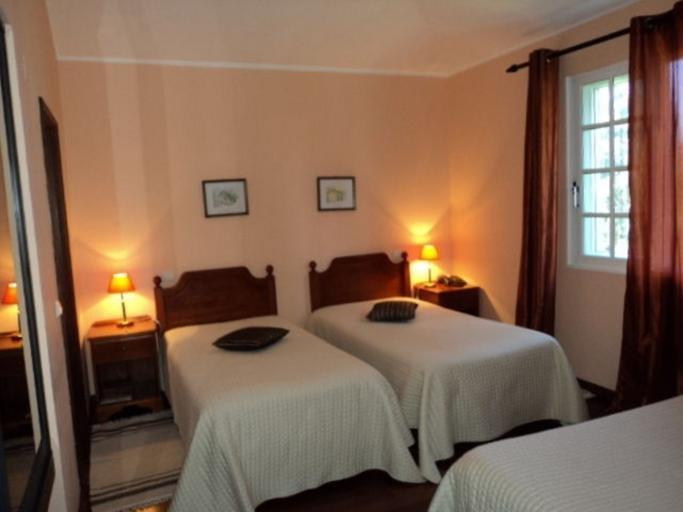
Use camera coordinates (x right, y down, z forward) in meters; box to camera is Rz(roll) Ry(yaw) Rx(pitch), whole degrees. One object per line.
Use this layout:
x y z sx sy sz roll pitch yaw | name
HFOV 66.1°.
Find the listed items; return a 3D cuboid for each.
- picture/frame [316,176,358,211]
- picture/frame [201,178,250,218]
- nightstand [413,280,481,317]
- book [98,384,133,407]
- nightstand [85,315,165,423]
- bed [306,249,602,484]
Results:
-0.056 -0.662 5.539 0.395 0.352 0.039 -1 9 10 | picture/frame
-1.149 -0.572 5.085 0.344 0.308 0.029 -6 8 -20 | picture/frame
1.313 0.487 5.835 0.517 0.351 0.518 -19 14 -35 | nightstand
-1.991 1.204 4.646 0.212 0.056 0.226 0 3 -17 | book
-1.898 0.959 4.653 0.583 0.770 0.468 -6 17 -21 | nightstand
0.636 0.659 4.599 1.457 1.163 2.009 -4 4 -32 | bed
